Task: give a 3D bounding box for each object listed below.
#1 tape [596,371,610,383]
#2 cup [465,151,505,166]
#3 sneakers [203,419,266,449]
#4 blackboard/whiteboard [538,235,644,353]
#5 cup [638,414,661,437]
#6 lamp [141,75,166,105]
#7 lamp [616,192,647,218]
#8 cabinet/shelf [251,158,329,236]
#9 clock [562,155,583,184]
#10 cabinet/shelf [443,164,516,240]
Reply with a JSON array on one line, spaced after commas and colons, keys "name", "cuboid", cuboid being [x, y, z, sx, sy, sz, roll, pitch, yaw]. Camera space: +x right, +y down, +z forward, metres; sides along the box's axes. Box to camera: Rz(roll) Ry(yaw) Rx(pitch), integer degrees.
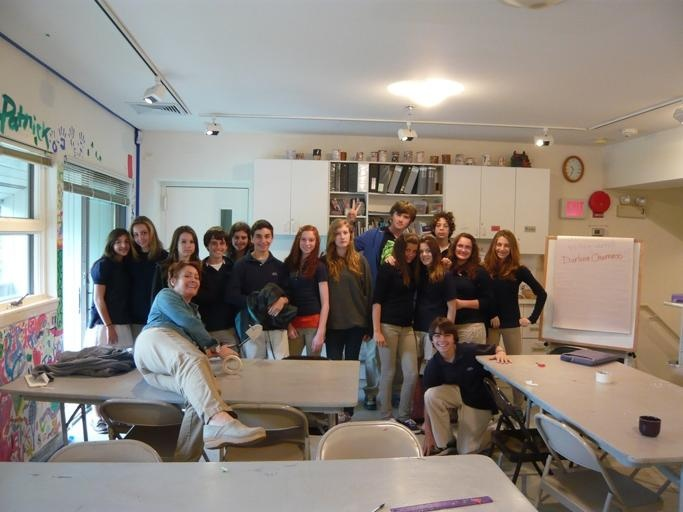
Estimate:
[{"name": "tape", "cuboid": [1.855, 0.854, 3.800, 0.072, 0.054, 0.073, 1, 2, 45]}, {"name": "cup", "cuboid": [1.817, -1.201, 6.693, 0.581, 0.180, 0.338, 0, 2, 5]}, {"name": "sneakers", "cuboid": [-0.628, 0.988, 3.023, 0.398, 0.162, 0.149, -2, -7, 8]}, {"name": "blackboard/whiteboard", "cuboid": [2.355, 0.361, 5.054, 1.039, 1.442, 0.104, 3, -5, 15]}, {"name": "cup", "cuboid": [1.793, 0.991, 3.136, 0.121, 0.090, 0.106, 2, -9, -13]}, {"name": "lamp", "cuboid": [-1.616, -1.436, 4.576, 0.147, 0.221, 0.216, -1, 2, -13]}, {"name": "lamp", "cuboid": [3.812, -0.683, 7.069, 0.323, 0.283, 0.085, 0, 8, 2]}, {"name": "cabinet/shelf", "cuboid": [-0.600, -0.691, 6.187, 0.958, 0.891, 0.375, 1, 4, -1]}, {"name": "clock", "cuboid": [3.033, -1.129, 6.975, 0.329, 0.348, 0.081, -1, 3, -16]}, {"name": "cabinet/shelf", "cuboid": [1.609, -0.658, 6.352, 0.947, 0.889, 0.395, 1, 5, -2]}]
